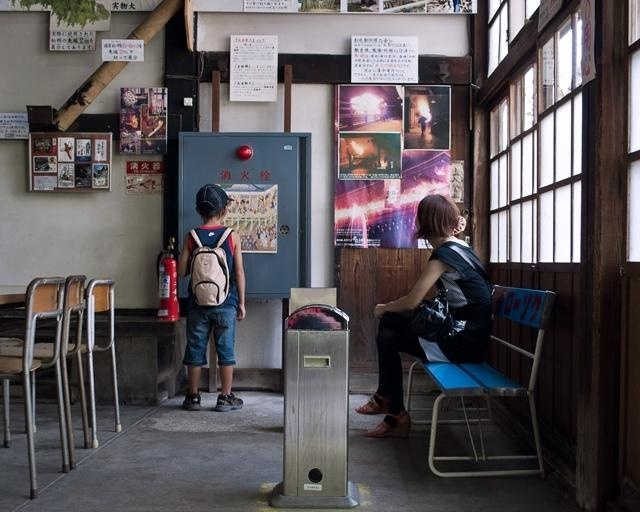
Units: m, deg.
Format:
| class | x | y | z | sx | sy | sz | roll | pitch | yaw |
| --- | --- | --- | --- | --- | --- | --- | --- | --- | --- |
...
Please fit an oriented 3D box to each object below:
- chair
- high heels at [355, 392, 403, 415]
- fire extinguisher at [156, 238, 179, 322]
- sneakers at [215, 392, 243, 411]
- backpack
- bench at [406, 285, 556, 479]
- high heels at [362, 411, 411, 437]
| class | x | y | z | sx | sy | sz | roll | pitch | yaw |
| --- | --- | --- | --- | --- | --- | --- | --- | --- | --- |
| chair | -1.728 | 0.674 | 4.567 | 0.668 | 1.187 | 1.782 | -1 | 5 | -17 |
| high heels | 0.411 | 1.065 | 4.667 | 0.308 | 0.150 | 0.147 | 3 | -1 | 3 |
| fire extinguisher | -1.305 | 0.199 | 5.651 | 0.176 | 0.673 | 0.487 | -1 | 4 | -13 |
| sneakers | -0.724 | 1.153 | 5.237 | 0.091 | 0.133 | 0.239 | 0 | -2 | 42 |
| backpack | -0.839 | 0.102 | 5.134 | 0.418 | 0.863 | 0.392 | 0 | 5 | -8 |
| bench | 1.070 | 0.812 | 4.671 | 0.640 | 1.148 | 1.678 | 2 | -3 | 5 |
| high heels | 0.453 | 1.143 | 4.534 | 0.360 | 0.203 | 0.141 | 0 | -5 | 7 |
